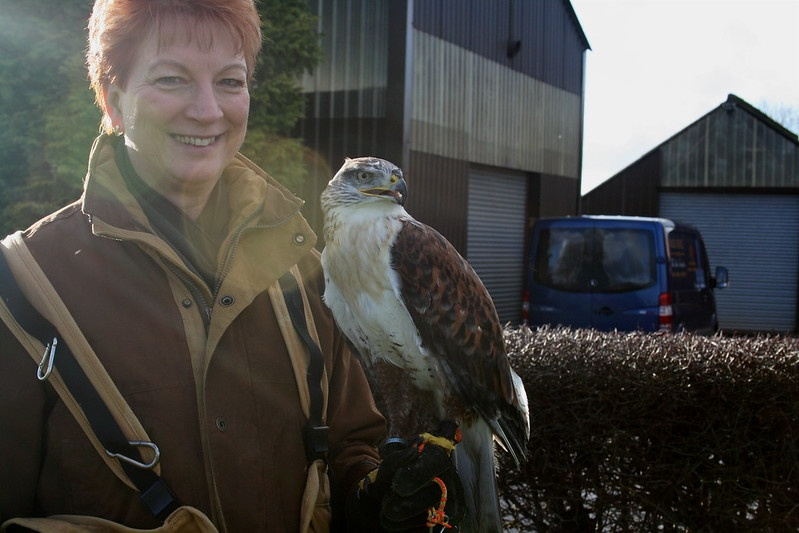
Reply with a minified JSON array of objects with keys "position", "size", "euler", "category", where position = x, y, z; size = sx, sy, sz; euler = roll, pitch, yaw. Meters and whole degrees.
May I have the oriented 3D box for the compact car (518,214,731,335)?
[{"position":[3.024,0.072,10.766],"size":[1.370,1.322,2.043],"euler":[2,5,32],"category":"compact car"}]
